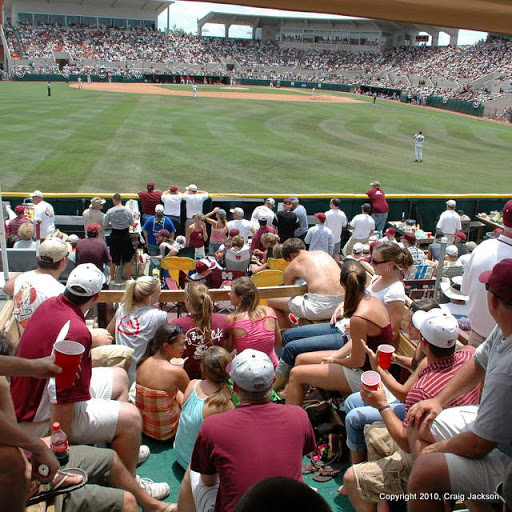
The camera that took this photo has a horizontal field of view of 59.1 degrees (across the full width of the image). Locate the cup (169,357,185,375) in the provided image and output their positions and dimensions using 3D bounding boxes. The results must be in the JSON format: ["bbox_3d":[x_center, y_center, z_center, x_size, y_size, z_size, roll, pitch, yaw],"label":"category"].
[{"bbox_3d":[-0.715,0.989,4.083,0.133,0.080,0.120,-3,16,-26],"label":"cup"}]

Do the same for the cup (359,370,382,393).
[{"bbox_3d":[0.736,0.819,2.990,0.130,0.082,0.115,-21,40,-7],"label":"cup"}]

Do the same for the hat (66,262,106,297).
[{"bbox_3d":[-1.250,0.184,3.338,0.255,0.244,0.264,1,18,-4],"label":"hat"}]

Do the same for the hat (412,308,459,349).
[{"bbox_3d":[1.160,0.448,3.031,0.268,0.167,0.337,-2,34,-7],"label":"hat"}]

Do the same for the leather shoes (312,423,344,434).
[{"bbox_3d":[0.626,1.538,4.031,0.193,0.057,0.129,0,2,-37],"label":"leather shoes"}]

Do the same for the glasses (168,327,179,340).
[{"bbox_3d":[-0.746,0.691,4.077,0.127,0.032,0.113,-6,14,-2],"label":"glasses"}]

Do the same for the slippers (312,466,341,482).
[{"bbox_3d":[0.551,1.835,3.815,0.243,0.038,0.138,-9,20,-33],"label":"slippers"}]

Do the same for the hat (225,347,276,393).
[{"bbox_3d":[-0.036,0.658,2.794,0.280,0.173,0.368,-13,19,-17],"label":"hat"}]

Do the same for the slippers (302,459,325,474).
[{"bbox_3d":[0.467,1.812,3.922,0.180,0.099,0.063,-5,16,-24],"label":"slippers"}]

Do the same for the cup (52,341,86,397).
[{"bbox_3d":[-1.172,0.687,2.834,0.200,0.343,0.112,1,20,-6],"label":"cup"}]
